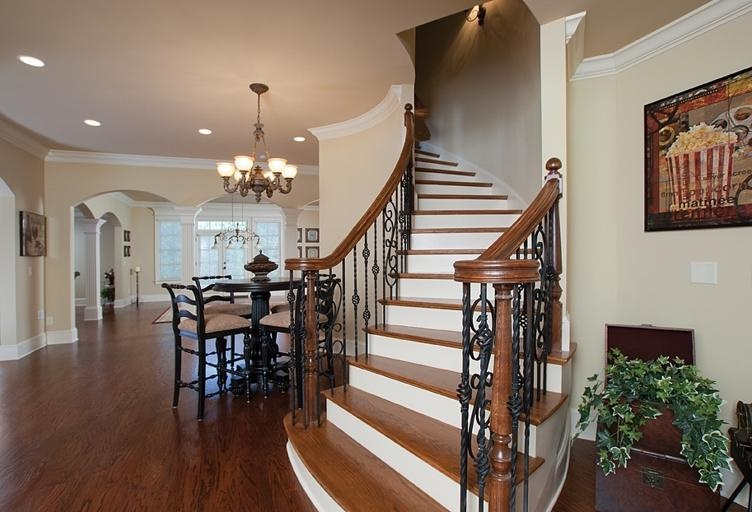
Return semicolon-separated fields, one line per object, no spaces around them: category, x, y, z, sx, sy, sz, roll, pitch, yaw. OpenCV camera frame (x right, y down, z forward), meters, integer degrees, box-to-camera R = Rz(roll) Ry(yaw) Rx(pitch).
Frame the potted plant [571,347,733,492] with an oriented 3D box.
potted plant;2.148;1.147;3.693;0.861;0.738;0.647;4;12;38

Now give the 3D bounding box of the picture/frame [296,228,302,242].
picture/frame;-2.017;-0.538;13.190;0.106;0.361;0.151;0;9;4

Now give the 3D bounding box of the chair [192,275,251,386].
chair;-1.703;0.747;5.464;0.531;0.979;0.631;-9;13;-1

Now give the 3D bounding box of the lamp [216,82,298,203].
lamp;-1.357;-1.309;5.638;0.890;1.199;0.910;0;-1;-39

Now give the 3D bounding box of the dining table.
dining table;-1.277;0.838;5.425;1.219;1.158;1.284;-1;0;-41

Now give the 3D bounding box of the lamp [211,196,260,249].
lamp;-3.652;-1.022;13.015;0.838;0.982;0.871;-3;-5;38

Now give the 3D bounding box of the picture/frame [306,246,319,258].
picture/frame;-1.650;-0.097;12.647;0.374;0.386;0.214;1;3;9

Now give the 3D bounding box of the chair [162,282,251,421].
chair;-1.703;0.881;5.016;0.653;1.275;0.725;2;4;44

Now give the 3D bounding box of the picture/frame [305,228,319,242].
picture/frame;-1.735;-0.554;13.191;0.406;0.431;0.055;4;-15;-14

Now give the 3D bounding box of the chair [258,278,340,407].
chair;-0.780;0.800;4.886;0.754;1.286;0.709;3;1;25
